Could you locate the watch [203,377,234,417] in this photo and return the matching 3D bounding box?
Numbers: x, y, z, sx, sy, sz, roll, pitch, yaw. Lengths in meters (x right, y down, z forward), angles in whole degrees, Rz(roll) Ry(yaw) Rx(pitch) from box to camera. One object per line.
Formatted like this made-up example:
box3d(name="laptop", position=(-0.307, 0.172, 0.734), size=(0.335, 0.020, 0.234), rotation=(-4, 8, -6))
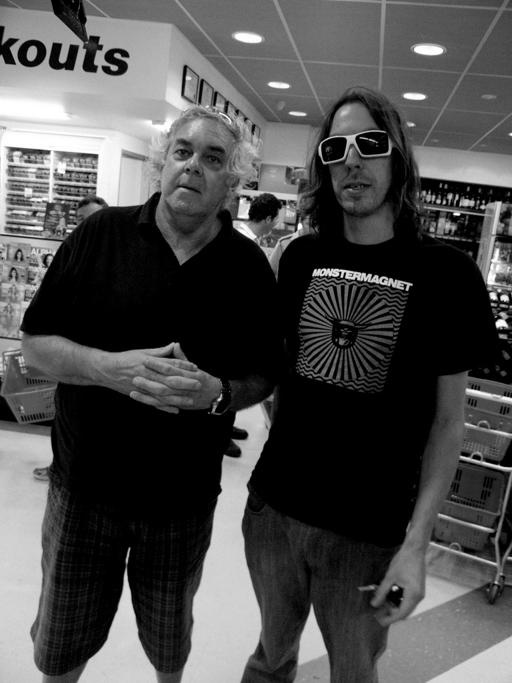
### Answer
box3d(name="watch", position=(-0.086, 0.130, 1.257), size=(0.044, 0.088, 0.078), rotation=(15, -24, -14))
